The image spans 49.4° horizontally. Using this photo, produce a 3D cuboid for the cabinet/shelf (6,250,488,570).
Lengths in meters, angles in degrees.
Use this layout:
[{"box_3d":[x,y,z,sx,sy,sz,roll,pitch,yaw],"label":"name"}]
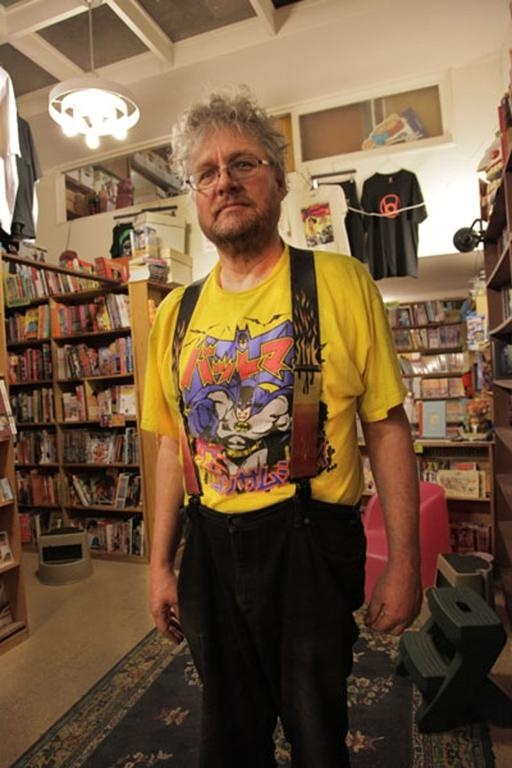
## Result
[{"box_3d":[-0.392,0.115,5.166,4.319,3.258,2.396,-1,2,15],"label":"cabinet/shelf"}]
